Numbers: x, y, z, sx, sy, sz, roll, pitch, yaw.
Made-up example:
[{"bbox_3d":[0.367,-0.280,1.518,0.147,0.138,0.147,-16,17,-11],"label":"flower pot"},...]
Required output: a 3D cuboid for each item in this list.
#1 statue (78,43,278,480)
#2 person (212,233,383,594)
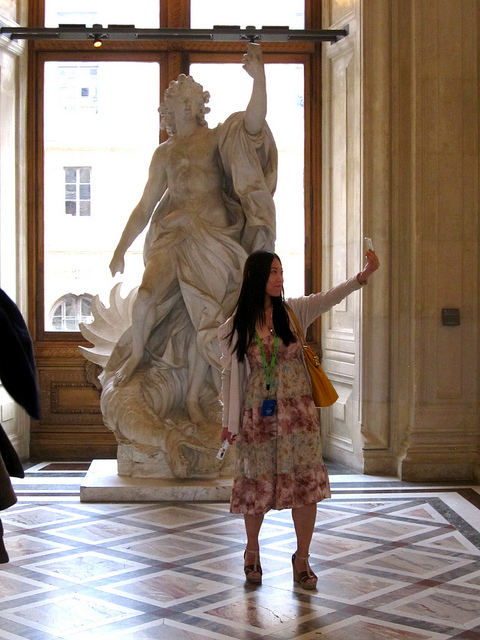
[{"bbox_3d":[-0.330,-0.284,4.373,1.078,2.395,0.494,0,-1,15],"label":"statue"},{"bbox_3d":[0.169,0.369,2.833,0.518,1.254,0.490,0,-1,-5],"label":"person"}]
